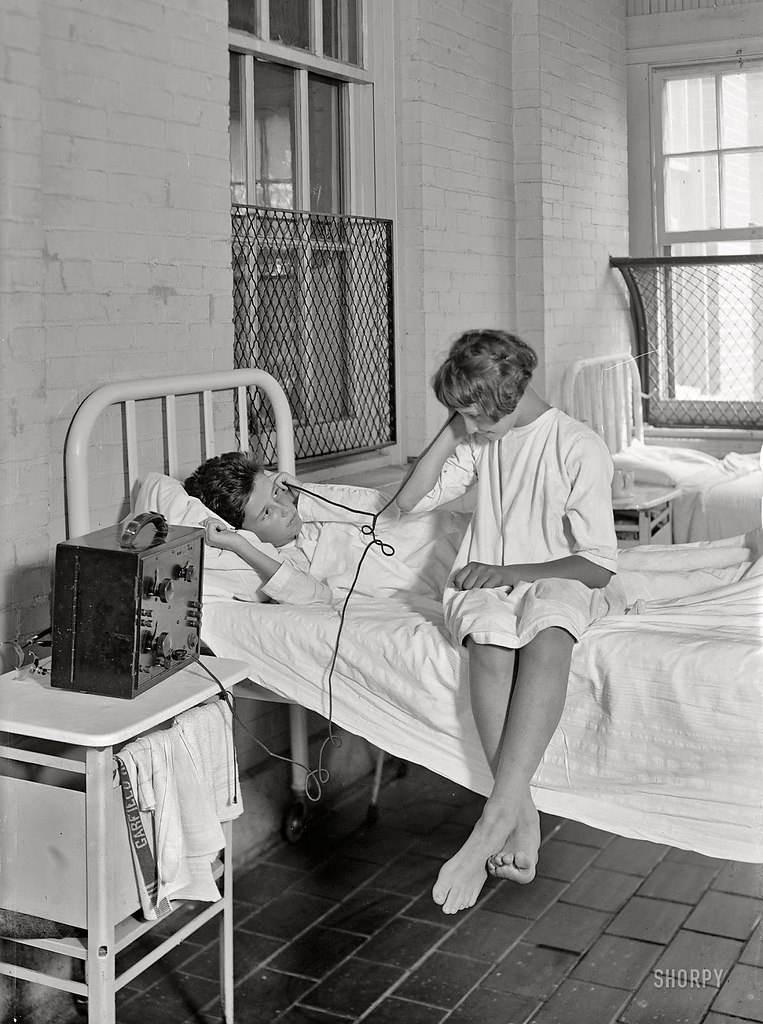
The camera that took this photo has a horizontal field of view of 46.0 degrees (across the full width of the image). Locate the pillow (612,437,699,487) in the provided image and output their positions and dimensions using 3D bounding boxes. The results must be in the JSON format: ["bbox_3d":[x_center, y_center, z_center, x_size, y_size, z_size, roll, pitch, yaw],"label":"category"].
[{"bbox_3d":[1.312,-0.231,4.265,0.311,0.099,0.317,9,16,26],"label":"pillow"}]

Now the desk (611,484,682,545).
[{"bbox_3d":[1.120,-0.009,3.817,0.260,0.177,0.370,2,10,23],"label":"desk"}]

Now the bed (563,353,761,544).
[{"bbox_3d":[1.294,-0.254,4.196,1.207,0.757,0.791,5,25,24],"label":"bed"}]
